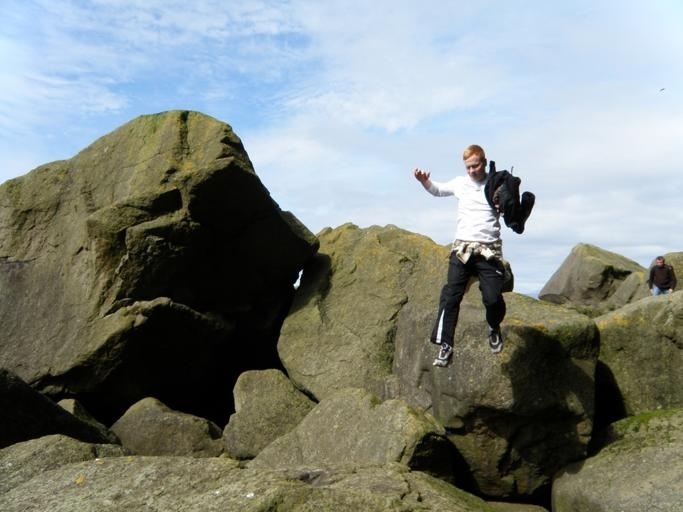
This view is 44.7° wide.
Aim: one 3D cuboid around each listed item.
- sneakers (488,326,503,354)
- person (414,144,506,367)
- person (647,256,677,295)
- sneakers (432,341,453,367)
[{"bbox_3d":[2.136,1.158,11.491,0.216,0.356,0.180,-4,8,-5],"label":"sneakers"},{"bbox_3d":[1.719,0.057,11.527,1.053,3.099,0.694,-1,8,15],"label":"person"},{"bbox_3d":[7.183,0.442,18.620,0.611,0.811,0.812,0,9,21],"label":"person"},{"bbox_3d":[1.433,1.430,11.751,0.190,0.411,0.187,8,-2,24],"label":"sneakers"}]
